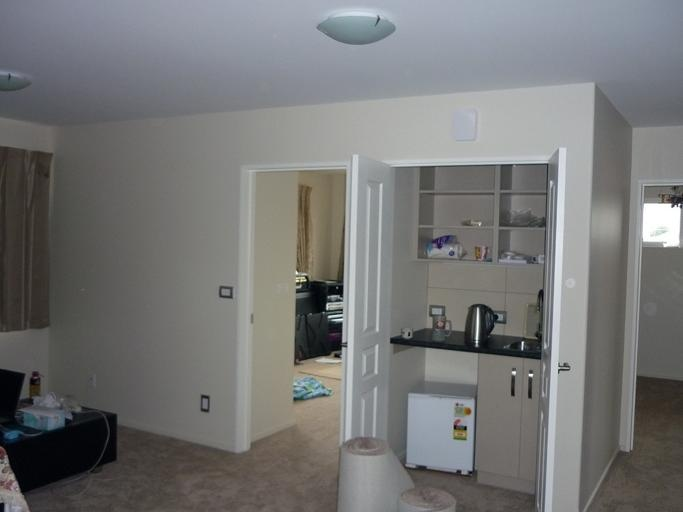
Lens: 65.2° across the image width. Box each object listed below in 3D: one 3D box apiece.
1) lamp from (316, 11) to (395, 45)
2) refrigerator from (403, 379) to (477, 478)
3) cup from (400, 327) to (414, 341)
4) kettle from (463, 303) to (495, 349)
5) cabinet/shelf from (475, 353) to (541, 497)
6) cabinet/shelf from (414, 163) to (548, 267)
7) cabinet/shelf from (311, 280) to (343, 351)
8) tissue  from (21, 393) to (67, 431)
[{"bbox_3d":[0.085,-1.213,2.834,0.413,0.112,0.256,2,4,2],"label":"lamp"},{"bbox_3d":[0.882,1.478,4.721,0.618,0.652,0.639,-1,-3,21],"label":"refrigerator"},{"bbox_3d":[0.560,0.653,4.522,0.099,0.087,0.148,2,4,7],"label":"cup"},{"bbox_3d":[1.191,0.583,4.574,0.361,0.405,0.224,1,1,11],"label":"kettle"},{"bbox_3d":[1.327,1.323,4.277,0.462,1.051,0.156,3,5,14],"label":"cabinet/shelf"},{"bbox_3d":[1.284,-0.366,4.768,0.871,0.685,0.266,1,0,32],"label":"cabinet/shelf"},{"bbox_3d":[-0.263,0.962,8.644,0.526,1.086,0.496,1,5,-4],"label":"cabinet/shelf"},{"bbox_3d":[-2.282,1.201,4.095,0.261,0.091,0.265,7,7,33],"label":"tissue "}]
